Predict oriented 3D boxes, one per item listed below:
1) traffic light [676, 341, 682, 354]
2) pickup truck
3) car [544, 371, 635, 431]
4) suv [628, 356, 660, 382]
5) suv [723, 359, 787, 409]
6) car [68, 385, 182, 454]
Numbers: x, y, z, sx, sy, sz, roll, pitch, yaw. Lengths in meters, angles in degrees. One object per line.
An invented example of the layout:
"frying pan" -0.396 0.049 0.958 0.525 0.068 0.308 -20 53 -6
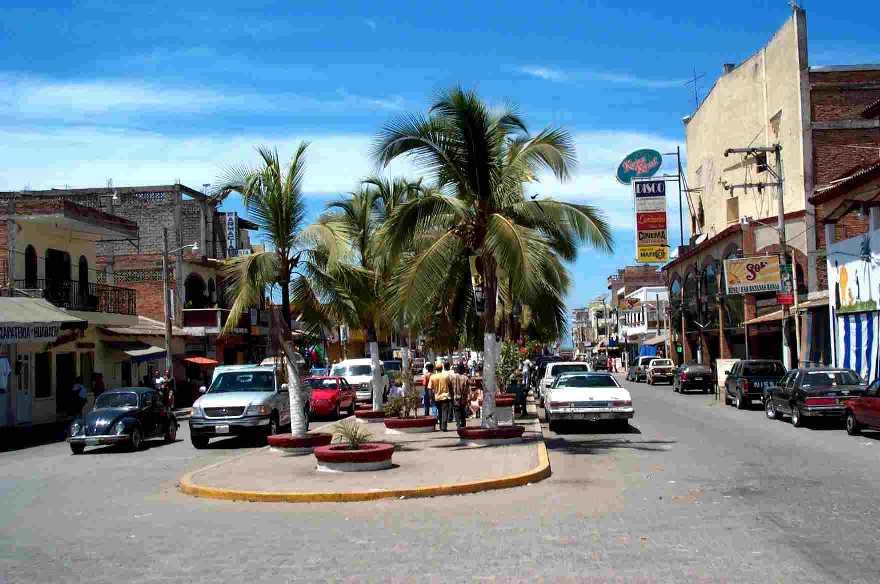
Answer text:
"traffic light" 20.804 4.754 76.850 0.163 0.954 1.065 -2 -6 -8
"pickup truck" -6.133 3.565 27.985 2.117 2.303 6.004 0 -3 4
"car" 4.783 3.487 28.753 2.528 1.894 2.171 -3 -6 3
"suv" 15.342 5.750 67.365 1.175 1.246 2.762 0 2 5
"suv" 12.834 3.712 36.546 1.561 1.706 4.350 -1 -3 10
"car" -10.019 3.994 28.302 1.729 1.966 3.294 -5 -7 17
